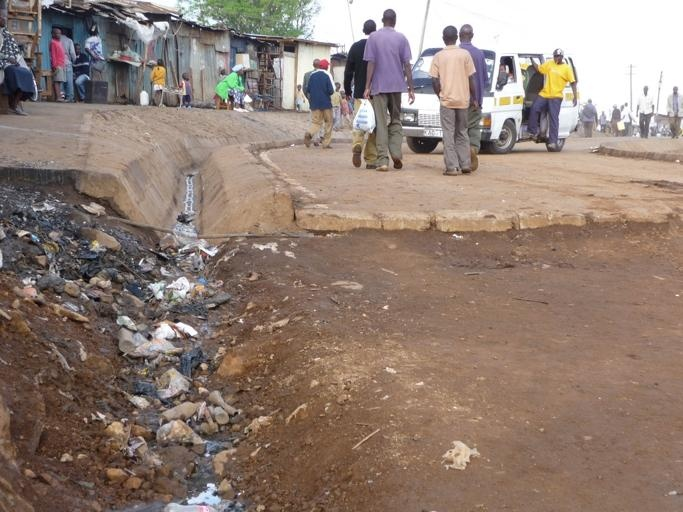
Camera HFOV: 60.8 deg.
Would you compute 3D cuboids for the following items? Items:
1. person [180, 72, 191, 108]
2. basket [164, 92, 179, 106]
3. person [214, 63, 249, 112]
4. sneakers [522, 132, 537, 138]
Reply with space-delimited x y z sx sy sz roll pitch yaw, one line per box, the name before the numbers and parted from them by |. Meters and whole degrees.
person | -6.199 -6.607 23.114 0.325 1.357 2.015 -2 12 -16
basket | -6.919 -6.344 23.459 0.700 0.538 0.556 -14 26 -29
person | -4.542 -6.825 24.030 1.179 2.074 0.968 5 -1 -2
sneakers | 4.485 -2.879 13.900 0.363 0.162 0.169 7 15 5
